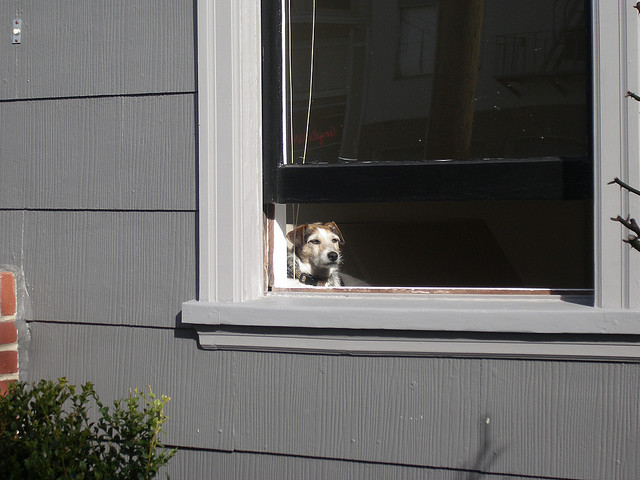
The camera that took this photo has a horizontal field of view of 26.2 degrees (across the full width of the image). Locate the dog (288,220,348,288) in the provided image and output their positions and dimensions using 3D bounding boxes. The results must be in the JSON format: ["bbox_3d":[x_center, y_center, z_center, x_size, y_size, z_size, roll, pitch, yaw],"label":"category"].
[{"bbox_3d":[-0.037,0.079,6.995,0.295,0.263,0.374,2,-72,-5],"label":"dog"}]
